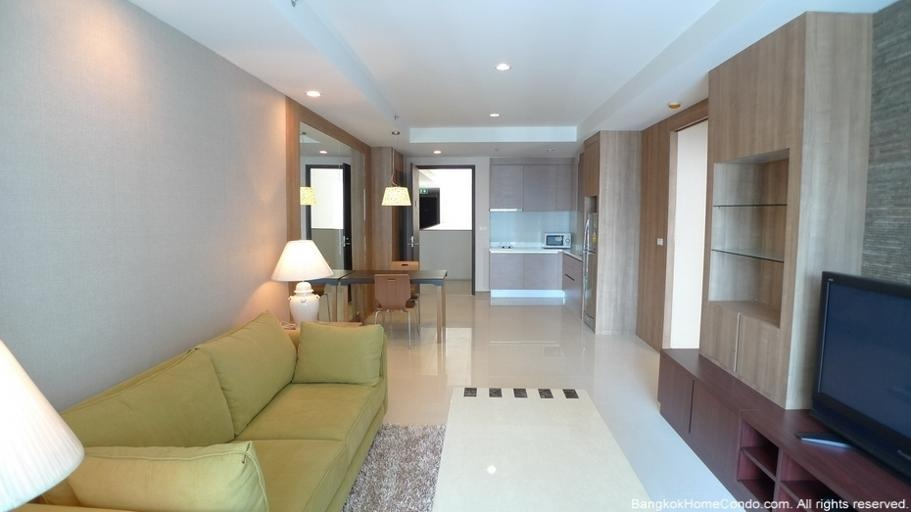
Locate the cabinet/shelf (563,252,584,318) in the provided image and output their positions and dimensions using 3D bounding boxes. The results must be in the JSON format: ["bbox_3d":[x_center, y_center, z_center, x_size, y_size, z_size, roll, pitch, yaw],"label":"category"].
[{"bbox_3d":[1.890,0.489,8.831,0.375,0.787,0.940,1,11,1],"label":"cabinet/shelf"}]

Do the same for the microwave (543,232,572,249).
[{"bbox_3d":[1.930,-0.218,10.498,0.474,0.275,0.314,-1,2,-1],"label":"microwave"}]

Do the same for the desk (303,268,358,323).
[{"bbox_3d":[-1.574,0.522,7.278,0.667,0.811,0.634,-1,8,-6],"label":"desk"}]

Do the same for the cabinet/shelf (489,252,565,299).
[{"bbox_3d":[1.331,0.490,10.405,1.683,0.994,0.819,0,1,3],"label":"cabinet/shelf"}]
